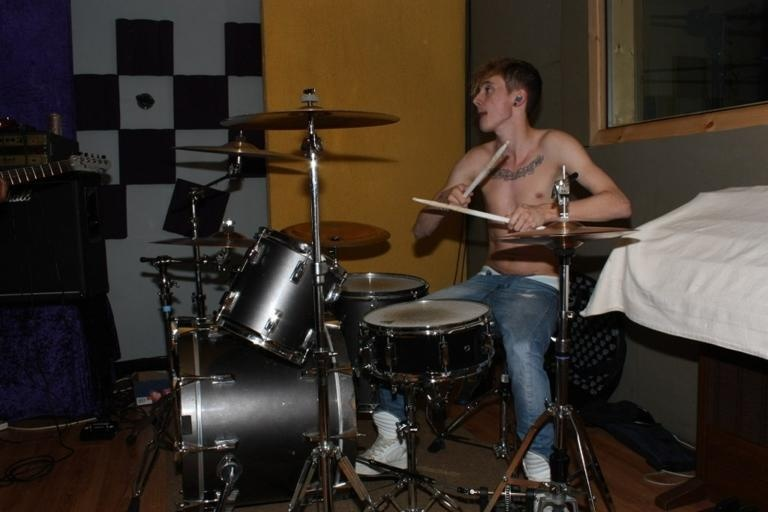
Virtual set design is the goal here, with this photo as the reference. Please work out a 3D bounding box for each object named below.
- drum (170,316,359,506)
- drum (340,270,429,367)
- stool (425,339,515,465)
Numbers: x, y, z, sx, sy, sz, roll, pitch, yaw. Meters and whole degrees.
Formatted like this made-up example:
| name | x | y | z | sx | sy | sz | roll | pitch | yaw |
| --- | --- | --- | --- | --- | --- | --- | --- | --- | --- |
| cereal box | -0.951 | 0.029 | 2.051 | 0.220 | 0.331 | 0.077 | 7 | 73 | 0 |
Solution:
| name | x | y | z | sx | sy | sz | roll | pitch | yaw |
| --- | --- | --- | --- | --- | --- | --- | --- | --- | --- |
| drum | -0.597 | 0.624 | 3.311 | 0.730 | 0.788 | 0.780 | 2 | -1 | -20 |
| drum | -0.022 | 0.281 | 3.663 | 0.440 | 0.419 | 0.437 | -3 | 13 | -8 |
| stool | 0.476 | 0.691 | 3.563 | 0.439 | 0.576 | 0.454 | 7 | -11 | 5 |
